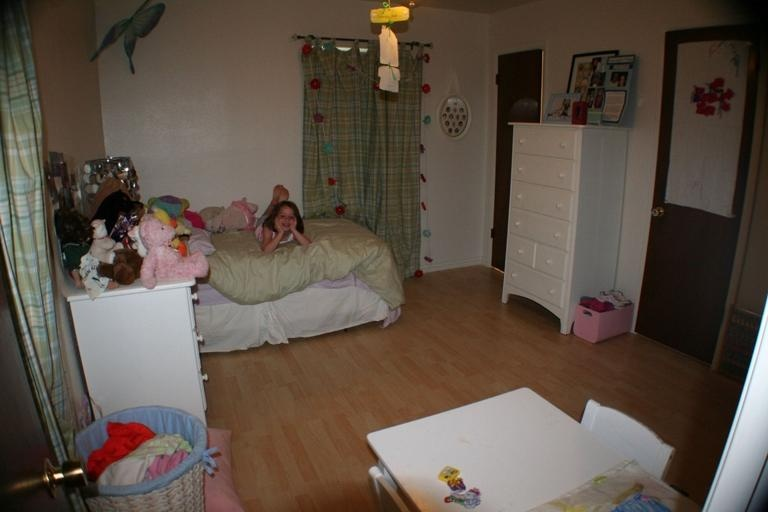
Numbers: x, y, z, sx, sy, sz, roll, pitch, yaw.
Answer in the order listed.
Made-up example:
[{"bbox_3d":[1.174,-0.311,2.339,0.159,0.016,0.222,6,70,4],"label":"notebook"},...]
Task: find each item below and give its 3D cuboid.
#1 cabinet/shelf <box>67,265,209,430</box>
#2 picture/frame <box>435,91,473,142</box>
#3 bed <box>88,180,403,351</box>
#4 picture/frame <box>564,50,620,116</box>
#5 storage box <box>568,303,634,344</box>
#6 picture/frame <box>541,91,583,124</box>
[{"bbox_3d":[-1.669,0.472,3.611,0.737,1.247,0.903,-10,29,-15],"label":"cabinet/shelf"},{"bbox_3d":[0.796,-1.593,5.798,0.405,0.475,0.077,-12,21,-28],"label":"picture/frame"},{"bbox_3d":[-0.753,0.138,4.386,1.456,0.790,1.564,-13,40,-23],"label":"bed"},{"bbox_3d":[1.903,-1.570,4.613,0.027,0.779,0.642,-5,12,-25],"label":"picture/frame"},{"bbox_3d":[1.933,0.695,4.484,0.545,0.333,0.308,-9,16,-26],"label":"storage box"},{"bbox_3d":[1.694,-1.408,4.810,0.047,0.428,0.477,8,8,-32],"label":"picture/frame"}]
